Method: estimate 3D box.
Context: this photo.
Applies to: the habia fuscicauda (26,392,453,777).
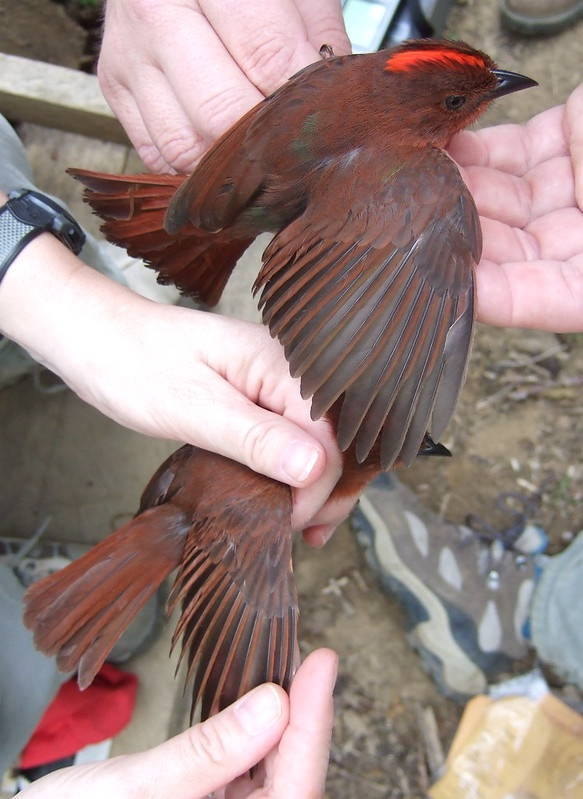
[{"bbox_3d":[-0.234,0.286,1.830,0.801,0.308,0.781,-15,21,-28],"label":"habia fuscicauda"}]
